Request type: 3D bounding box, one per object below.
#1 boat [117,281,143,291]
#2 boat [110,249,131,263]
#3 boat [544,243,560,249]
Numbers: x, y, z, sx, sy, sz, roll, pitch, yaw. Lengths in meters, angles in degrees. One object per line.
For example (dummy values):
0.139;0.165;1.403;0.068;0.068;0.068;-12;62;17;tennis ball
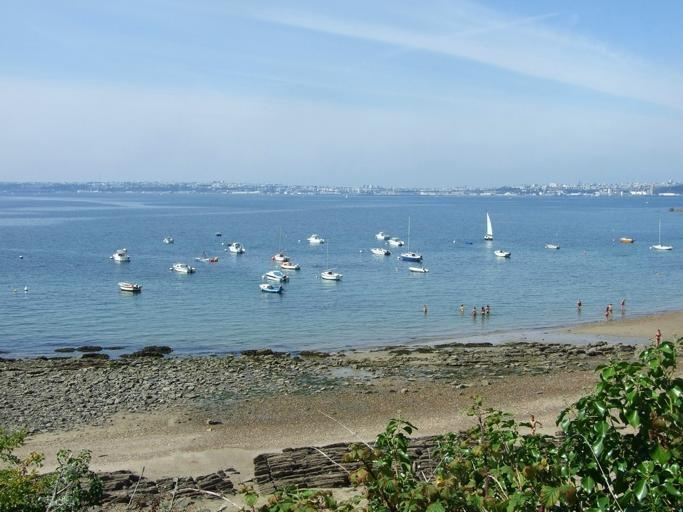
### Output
-17.452;2.541;60.500;2.556;0.634;0.828;6;4;37;boat
-24.558;0.152;82.846;1.604;1.514;4.905;-2;2;-28;boat
27.161;-1.271;96.399;1.257;0.452;1.490;4;-4;-30;boat
